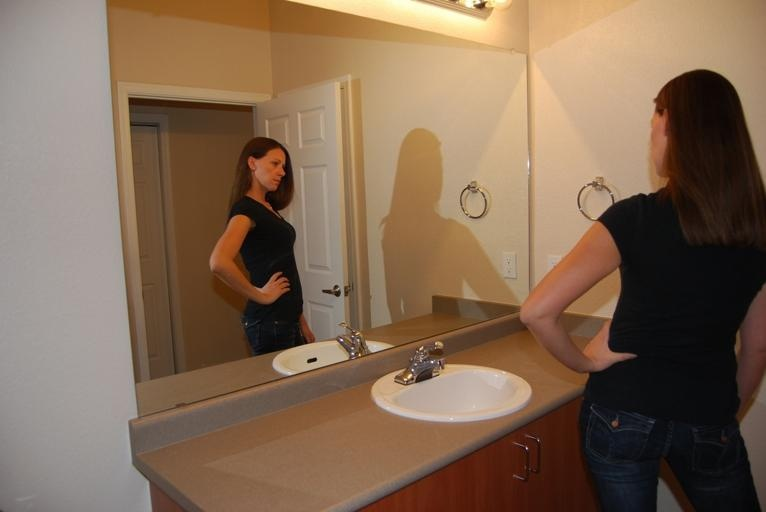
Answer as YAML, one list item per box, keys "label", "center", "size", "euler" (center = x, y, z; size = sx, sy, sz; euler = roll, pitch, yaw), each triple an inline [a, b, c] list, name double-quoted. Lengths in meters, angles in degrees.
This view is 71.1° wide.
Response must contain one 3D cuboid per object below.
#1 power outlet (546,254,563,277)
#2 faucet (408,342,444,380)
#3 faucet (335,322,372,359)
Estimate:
- label: "power outlet"
  center: [0.706, 0.034, 2.206]
  size: [0.012, 0.118, 0.084]
  euler: [-7, 11, -35]
- label: "faucet"
  center: [0.165, 0.424, 2.155]
  size: [0.097, 0.107, 0.163]
  euler: [-3, -3, 40]
- label: "faucet"
  center: [-0.121, 0.349, 2.186]
  size: [0.080, 0.169, 0.170]
  euler: [-10, -8, 42]
